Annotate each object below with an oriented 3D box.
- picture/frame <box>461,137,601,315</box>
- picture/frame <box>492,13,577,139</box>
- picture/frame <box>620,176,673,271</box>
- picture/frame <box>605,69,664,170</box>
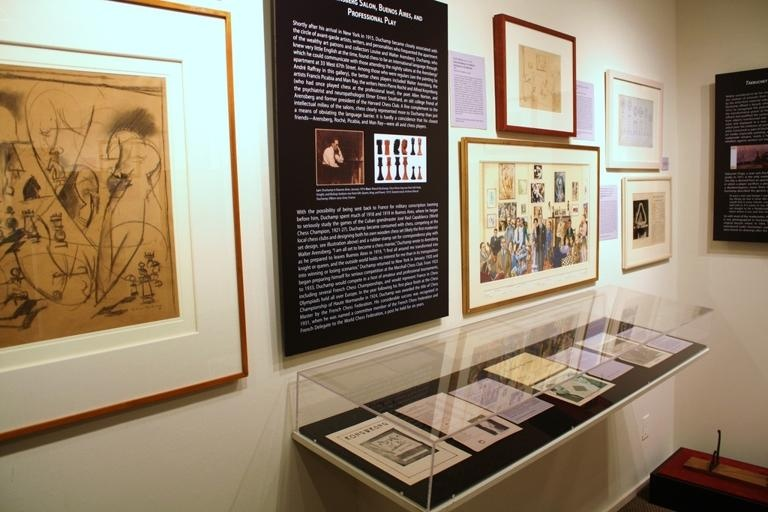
[{"bbox_3d":[0.905,-0.228,3.161,1.193,0.956,0.148,-8,13,-35],"label":"picture/frame"},{"bbox_3d":[0.875,-1.072,3.081,0.766,0.718,0.077,-6,8,-41],"label":"picture/frame"},{"bbox_3d":[2.004,-0.263,3.988,0.027,0.667,0.671,3,8,43],"label":"picture/frame"},{"bbox_3d":[1.870,-0.979,3.847,0.842,0.697,0.090,-10,14,-39],"label":"picture/frame"}]
